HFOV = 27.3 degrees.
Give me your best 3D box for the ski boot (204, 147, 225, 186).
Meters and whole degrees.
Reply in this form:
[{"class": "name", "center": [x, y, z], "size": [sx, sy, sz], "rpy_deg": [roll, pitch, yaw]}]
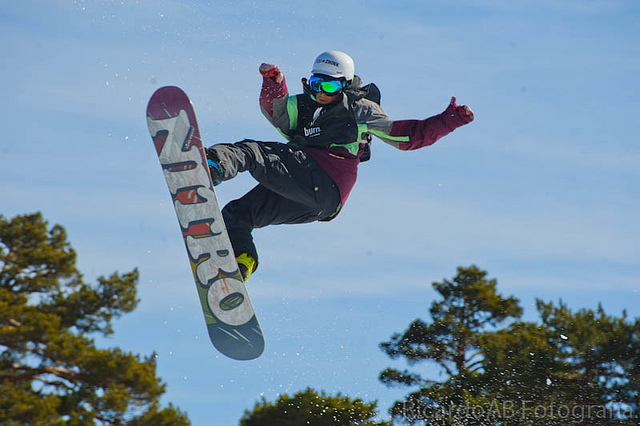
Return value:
[{"class": "ski boot", "center": [-1.865, -0.774, 23.560], "size": [0.294, 0.682, 0.319], "rpy_deg": [-6, -17, 27]}]
